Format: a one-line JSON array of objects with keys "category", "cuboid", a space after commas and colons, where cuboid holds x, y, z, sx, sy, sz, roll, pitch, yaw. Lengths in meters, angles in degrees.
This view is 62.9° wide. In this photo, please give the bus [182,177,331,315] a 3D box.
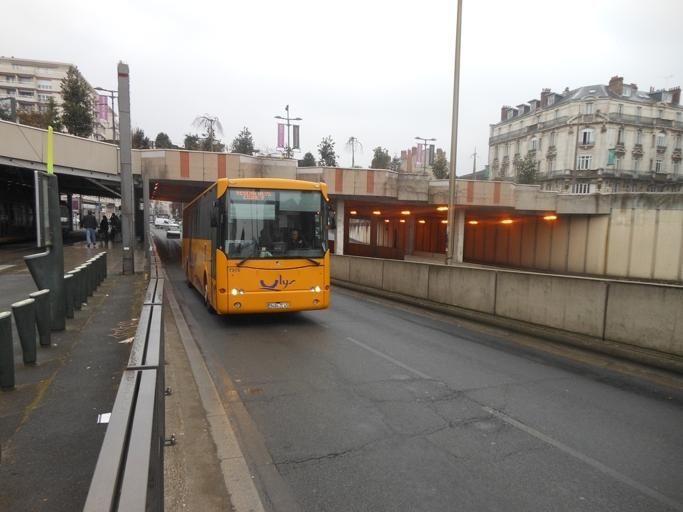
[{"category": "bus", "cuboid": [-2.436, -0.280, 15.511, 2.816, 3.838, 4.622, -4, 12, -25]}]
